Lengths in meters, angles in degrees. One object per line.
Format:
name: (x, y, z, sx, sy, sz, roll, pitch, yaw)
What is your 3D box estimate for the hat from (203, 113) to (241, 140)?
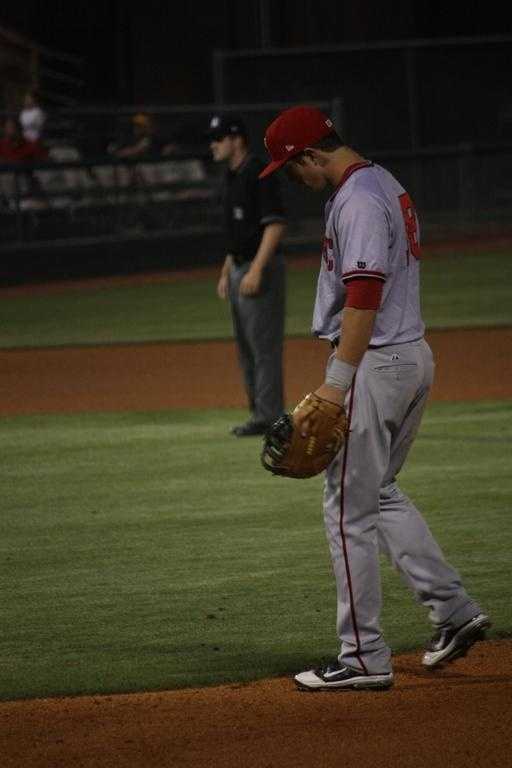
hat: (-0.184, -1.370, 5.156, 0.201, 0.091, 0.128, 6, 36, -1)

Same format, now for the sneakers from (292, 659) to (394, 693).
sneakers: (0.210, 0.719, 2.411, 0.270, 0.090, 0.084, 2, -6, 4)

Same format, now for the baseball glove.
baseball glove: (0.160, 0.128, 2.375, 0.176, 0.224, 0.108, 44, 29, 15)

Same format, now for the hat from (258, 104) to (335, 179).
hat: (0.087, -0.631, 2.448, 0.246, 0.118, 0.162, -30, 14, 15)

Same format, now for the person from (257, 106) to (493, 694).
person: (0.278, 0.042, 2.421, 0.556, 1.484, 0.418, -5, 11, -13)
